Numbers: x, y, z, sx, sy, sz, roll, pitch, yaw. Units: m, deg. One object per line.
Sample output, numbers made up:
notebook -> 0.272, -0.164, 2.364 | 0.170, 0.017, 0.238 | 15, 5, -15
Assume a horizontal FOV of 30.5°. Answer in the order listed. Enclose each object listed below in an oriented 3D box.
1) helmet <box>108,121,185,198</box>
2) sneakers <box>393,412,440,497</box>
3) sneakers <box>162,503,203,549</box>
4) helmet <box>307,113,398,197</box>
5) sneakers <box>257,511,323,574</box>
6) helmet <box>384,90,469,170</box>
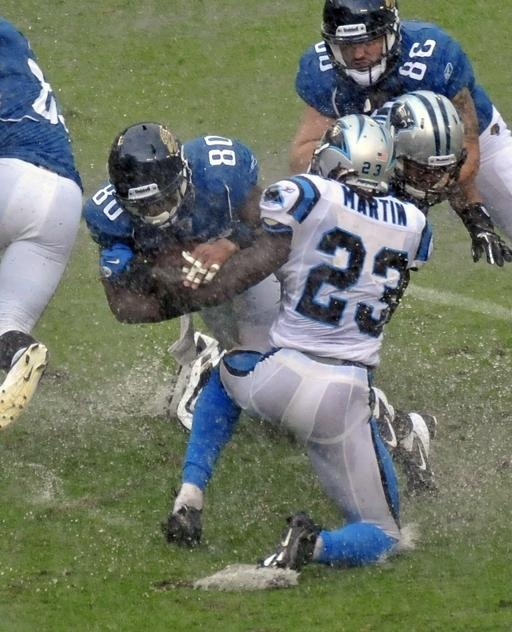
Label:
helmet -> -0.522, -0.733, 4.371 | 0.322, 0.326, 0.378 | -10, 58, 10
sneakers -> 0.873, 0.769, 5.248 | 0.180, 0.207, 0.441 | -9, 67, 7
sneakers -> -0.319, 0.961, 4.287 | 0.226, 0.153, 0.169 | 2, 78, 4
helmet -> 0.423, -0.782, 4.533 | 0.379, 0.346, 0.440 | 19, 18, -11
sneakers -> 0.178, 1.005, 4.181 | 0.221, 0.121, 0.256 | 23, 69, 48
helmet -> 0.800, -0.917, 4.789 | 0.365, 0.363, 0.423 | -1, 54, -5
